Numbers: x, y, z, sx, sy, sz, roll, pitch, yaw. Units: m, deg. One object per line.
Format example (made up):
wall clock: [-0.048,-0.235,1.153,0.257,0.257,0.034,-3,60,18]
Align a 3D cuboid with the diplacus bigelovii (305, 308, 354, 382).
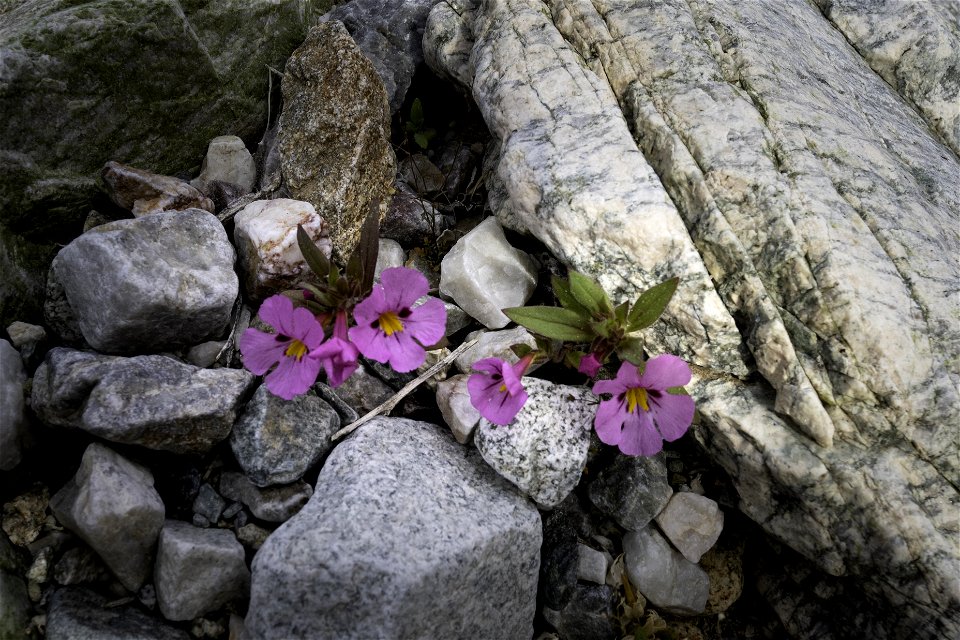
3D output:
diplacus bigelovii: [-0.958,0.191,5.525,0.208,0.210,0.443,13,51,-9]
